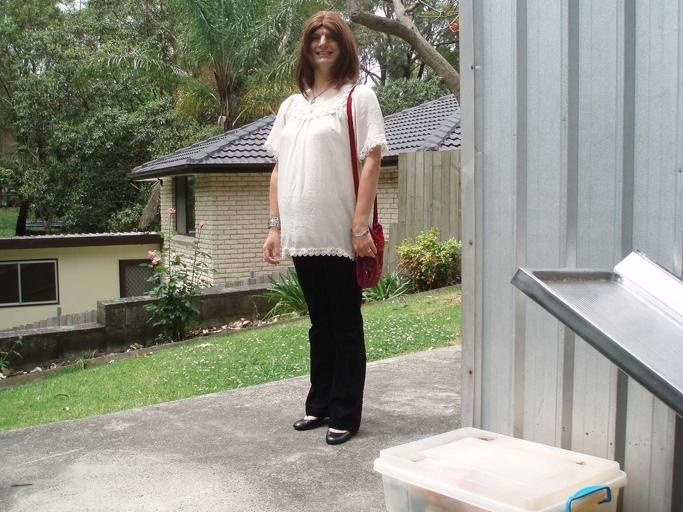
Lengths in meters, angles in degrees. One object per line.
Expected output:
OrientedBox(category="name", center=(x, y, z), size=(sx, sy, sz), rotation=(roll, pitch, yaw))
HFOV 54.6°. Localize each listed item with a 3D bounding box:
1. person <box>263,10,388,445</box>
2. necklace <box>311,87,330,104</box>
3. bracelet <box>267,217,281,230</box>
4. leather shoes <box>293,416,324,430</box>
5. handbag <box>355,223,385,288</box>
OrientedBox(category="person", center=(-0.088, -0.171, 3.497), size=(0.735, 2.074, 0.469), rotation=(-7, 2, 8))
OrientedBox(category="necklace", center=(-0.118, -0.844, 3.484), size=(0.109, 0.027, 0.062), rotation=(-47, 13, -7))
OrientedBox(category="bracelet", center=(-0.386, -0.181, 3.714), size=(0.056, 0.063, 0.060), rotation=(0, -3, 7))
OrientedBox(category="leather shoes", center=(-0.177, 0.899, 3.585), size=(0.172, 0.072, 0.062), rotation=(10, -14, -29))
OrientedBox(category="handbag", center=(0.144, 0.000, 3.452), size=(0.164, 0.302, 0.228), rotation=(-7, 2, 2))
